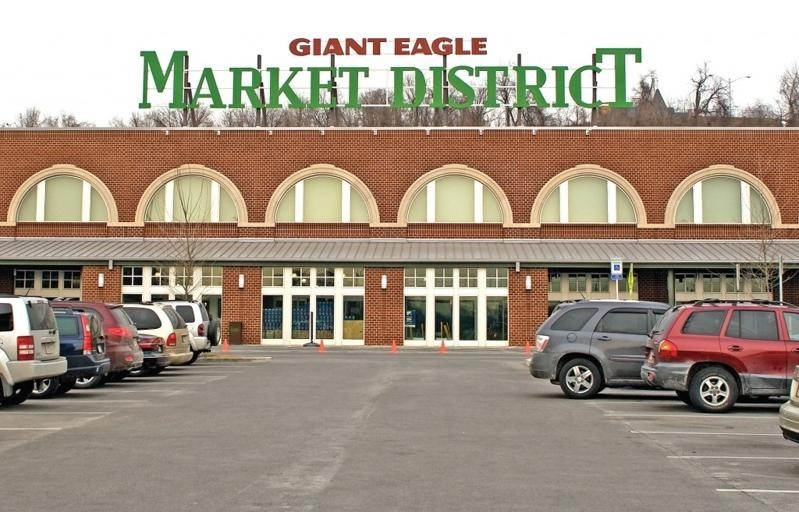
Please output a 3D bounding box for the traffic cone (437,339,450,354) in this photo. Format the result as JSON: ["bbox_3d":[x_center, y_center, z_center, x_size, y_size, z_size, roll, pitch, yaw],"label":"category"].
[{"bbox_3d":[2.127,4.460,48.480,0.537,0.640,0.507,0,5,1],"label":"traffic cone"}]

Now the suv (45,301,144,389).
[{"bbox_3d":[-9.388,2.351,29.891,3.238,1.376,1.511,1,-1,3],"label":"suv"}]

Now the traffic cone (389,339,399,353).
[{"bbox_3d":[-0.205,4.404,49.029,0.432,0.463,0.422,4,-7,-9],"label":"traffic cone"}]

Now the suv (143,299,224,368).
[{"bbox_3d":[-8.468,2.717,38.794,2.795,1.495,1.636,2,-4,-3],"label":"suv"}]
